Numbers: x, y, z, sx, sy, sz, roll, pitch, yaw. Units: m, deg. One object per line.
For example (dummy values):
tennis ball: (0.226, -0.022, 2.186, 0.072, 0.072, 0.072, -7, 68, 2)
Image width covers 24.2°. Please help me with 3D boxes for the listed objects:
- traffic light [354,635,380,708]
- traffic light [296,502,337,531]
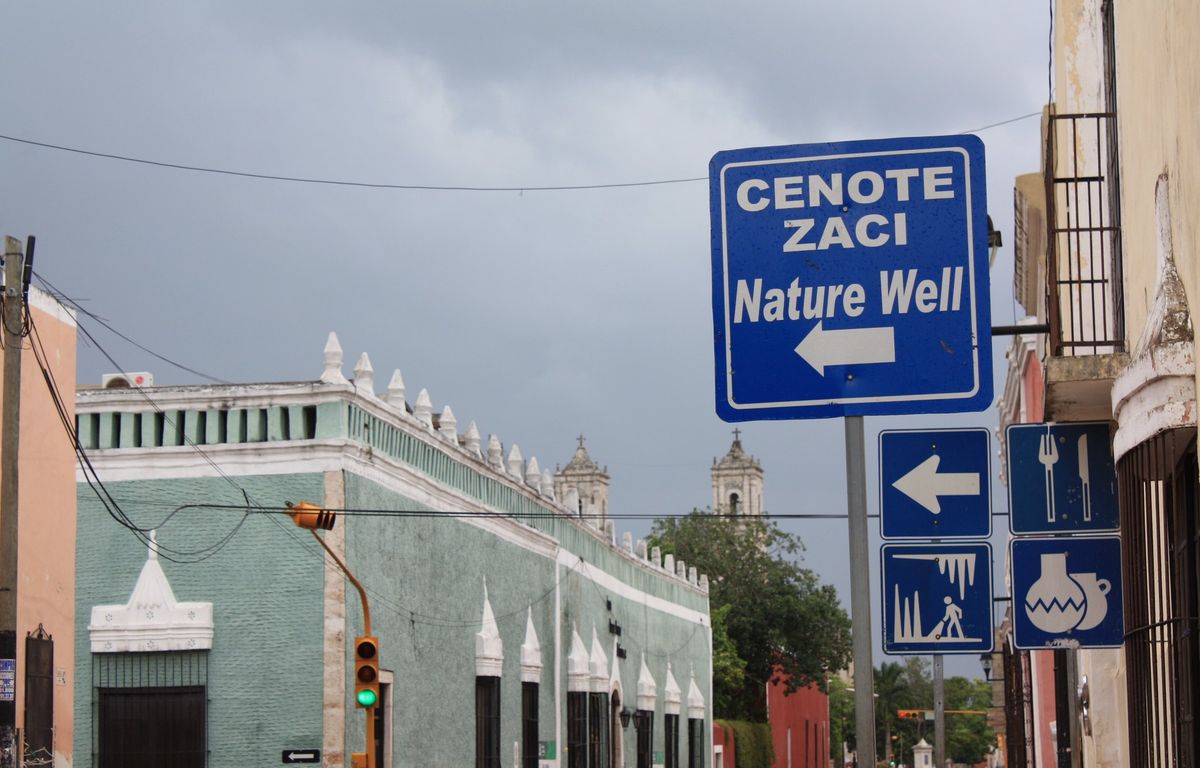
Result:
traffic light: (-4.085, 4.998, 49.139, 0.366, 1.206, 0.563, -4, -16, 0)
traffic light: (-5.030, 2.381, 49.225, 0.712, 0.442, 0.314, 14, 1, -25)
